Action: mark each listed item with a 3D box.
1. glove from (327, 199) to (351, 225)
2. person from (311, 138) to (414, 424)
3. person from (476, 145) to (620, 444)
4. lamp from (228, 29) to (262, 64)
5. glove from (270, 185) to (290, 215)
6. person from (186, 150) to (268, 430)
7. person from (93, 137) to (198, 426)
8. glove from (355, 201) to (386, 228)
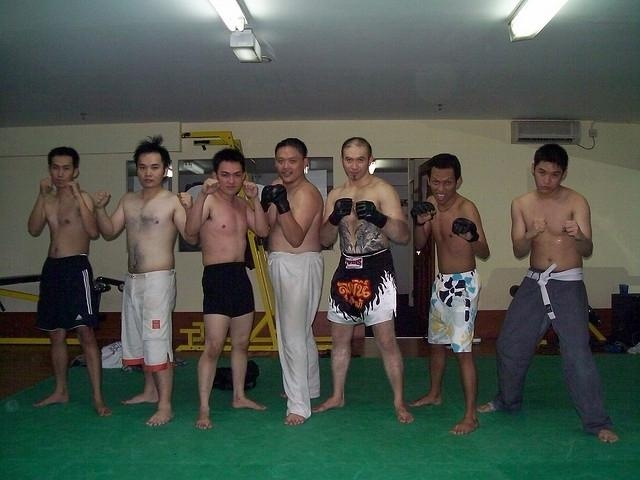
[{"bbox_3d":[0.144,-0.205,3.908,0.167,0.216,0.282,0,6,0],"label":"glove"},{"bbox_3d":[0.354,0.313,4.093,0.786,2.216,0.639,1,6,15],"label":"person"},{"bbox_3d":[1.779,0.351,4.019,0.955,2.150,0.517,3,6,30],"label":"person"},{"bbox_3d":[-0.709,-1.833,4.911,0.251,0.212,0.425,0,6,5],"label":"lamp"},{"bbox_3d":[-0.288,-0.307,3.927,0.137,0.211,0.090,14,41,29],"label":"glove"},{"bbox_3d":[-0.717,0.361,4.138,0.641,2.164,0.500,-2,6,-23],"label":"person"},{"bbox_3d":[-1.395,0.294,4.190,0.678,2.230,0.476,5,8,44],"label":"person"},{"bbox_3d":[0.374,-0.184,3.813,0.238,0.198,0.148,0,6,4],"label":"glove"}]
